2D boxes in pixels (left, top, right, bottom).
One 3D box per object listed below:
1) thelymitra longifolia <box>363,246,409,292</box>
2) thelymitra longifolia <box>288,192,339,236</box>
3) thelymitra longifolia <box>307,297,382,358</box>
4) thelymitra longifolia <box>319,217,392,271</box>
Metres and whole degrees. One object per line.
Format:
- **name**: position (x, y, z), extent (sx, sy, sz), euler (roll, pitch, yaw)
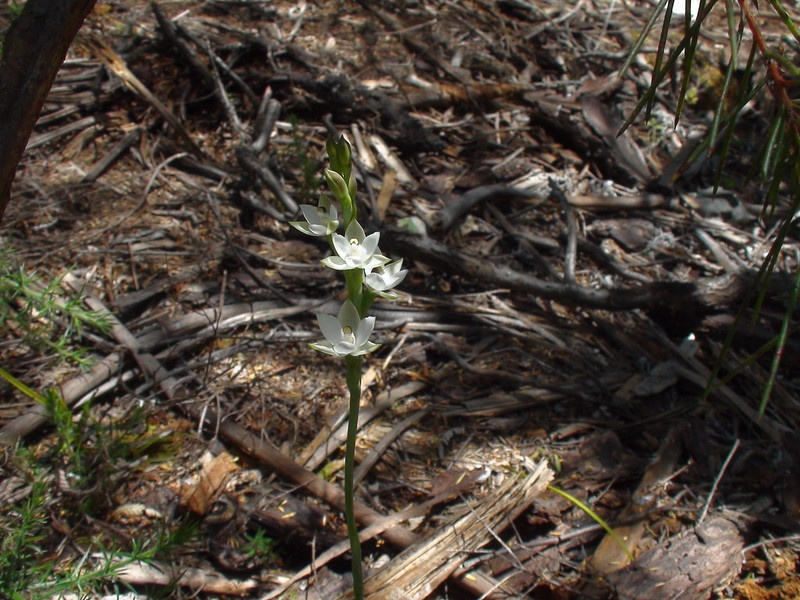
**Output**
- **thelymitra longifolia**: position (-0.049, -0.087, 2.168), extent (0.135, 0.071, 0.140), euler (30, 48, 21)
- **thelymitra longifolia**: position (-0.269, -0.264, 2.184), extent (0.141, 0.168, 0.085), euler (-19, 76, 8)
- **thelymitra longifolia**: position (-0.192, 0.115, 2.165), extent (0.201, 0.113, 0.210), euler (-9, 55, -4)
- **thelymitra longifolia**: position (-0.164, -0.210, 2.395), extent (0.250, 0.135, 0.283), euler (-1, 68, -5)
